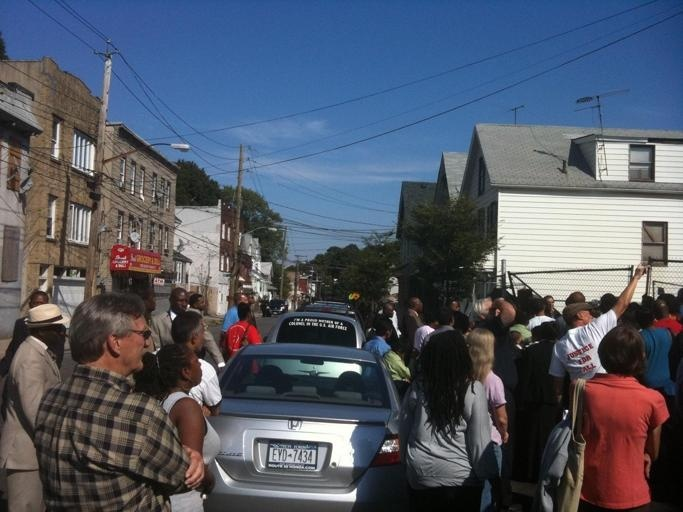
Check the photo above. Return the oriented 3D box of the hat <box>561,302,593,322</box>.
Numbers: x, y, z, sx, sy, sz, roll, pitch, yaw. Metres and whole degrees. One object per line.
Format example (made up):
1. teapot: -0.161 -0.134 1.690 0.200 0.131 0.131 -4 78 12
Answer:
1. hat: 2.744 0.613 9.099 0.271 0.131 0.213 -29 -1 1

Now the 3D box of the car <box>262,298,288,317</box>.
1. car: -5.013 3.711 59.600 1.514 1.055 2.906 1 7 1

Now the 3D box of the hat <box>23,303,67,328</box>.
1. hat: -2.744 0.563 7.196 0.288 0.113 0.258 -4 7 -8
